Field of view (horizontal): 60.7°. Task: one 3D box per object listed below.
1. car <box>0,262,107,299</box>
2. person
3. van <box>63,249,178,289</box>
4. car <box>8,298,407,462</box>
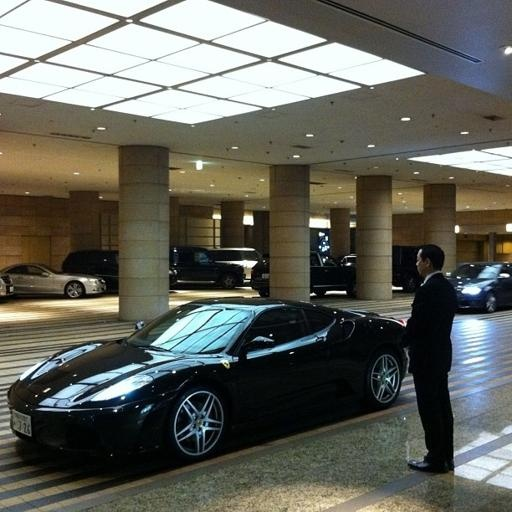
[{"bbox_3d":[-9.483,1.152,20.934,4.598,1.103,1.716,-1,1,-11],"label":"car"},{"bbox_3d":[1.280,0.733,3.183,0.360,1.648,0.401,-1,-3,21],"label":"person"},{"bbox_3d":[-7.725,0.686,24.224,5.218,1.718,2.501,0,1,3],"label":"van"},{"bbox_3d":[-0.159,0.860,4.259,3.516,0.839,1.729,1,-2,-38],"label":"car"}]
